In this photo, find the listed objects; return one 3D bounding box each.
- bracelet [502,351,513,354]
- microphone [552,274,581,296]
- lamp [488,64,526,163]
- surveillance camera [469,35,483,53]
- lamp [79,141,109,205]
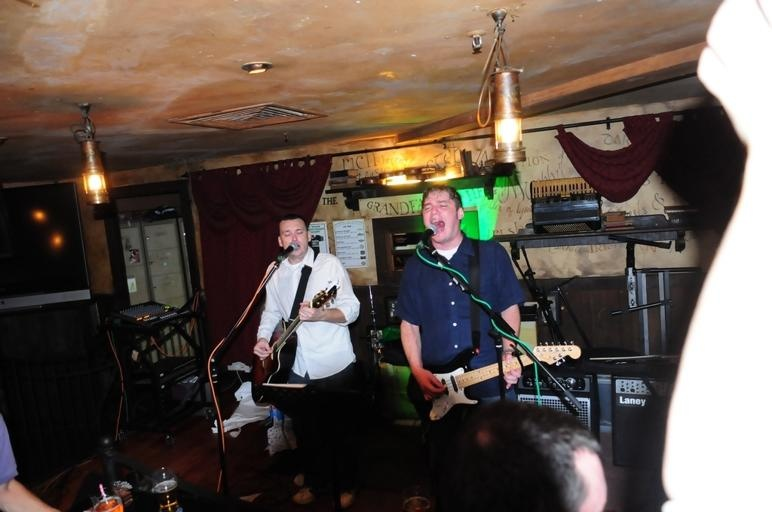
[{"bbox_3d":[0.737,0.584,3.556,0.038,0.010,0.037,-1,-1,0],"label":"bracelet"},{"bbox_3d":[1.855,0.323,6.031,0.289,0.251,0.642,-5,5,18],"label":"microphone"},{"bbox_3d":[0.718,-0.821,3.459,0.191,0.527,0.234,-6,6,12],"label":"lamp"},{"bbox_3d":[0.563,-1.325,3.688,0.083,0.136,0.079,0,-1,-5],"label":"surveillance camera"},{"bbox_3d":[-2.129,-0.610,4.288,0.149,0.342,0.228,-9,6,-24],"label":"lamp"}]
